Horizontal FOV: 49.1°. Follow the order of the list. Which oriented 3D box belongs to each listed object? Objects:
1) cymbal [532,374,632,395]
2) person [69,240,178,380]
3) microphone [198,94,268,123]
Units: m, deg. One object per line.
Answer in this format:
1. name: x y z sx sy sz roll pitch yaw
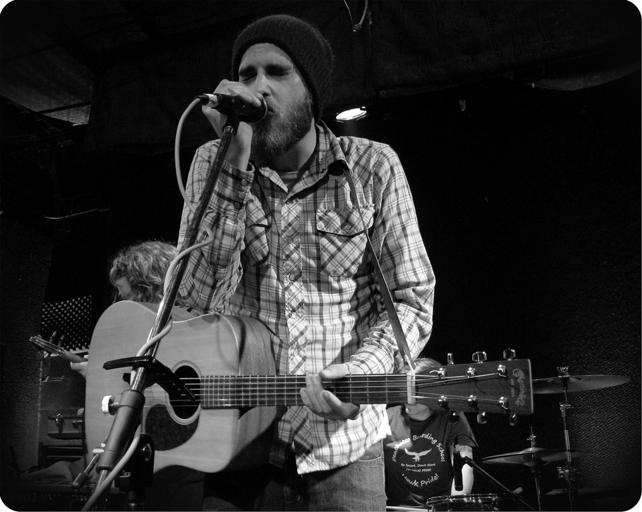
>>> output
1. cymbal: 1.538 0.762 4.155 0.667 0.112 0.450 2 -11 -8
2. person: -1.226 0.427 4.858 0.894 1.050 0.234 16 9 30
3. microphone: -0.314 -0.547 2.632 0.092 0.098 0.306 -2 -1 45
